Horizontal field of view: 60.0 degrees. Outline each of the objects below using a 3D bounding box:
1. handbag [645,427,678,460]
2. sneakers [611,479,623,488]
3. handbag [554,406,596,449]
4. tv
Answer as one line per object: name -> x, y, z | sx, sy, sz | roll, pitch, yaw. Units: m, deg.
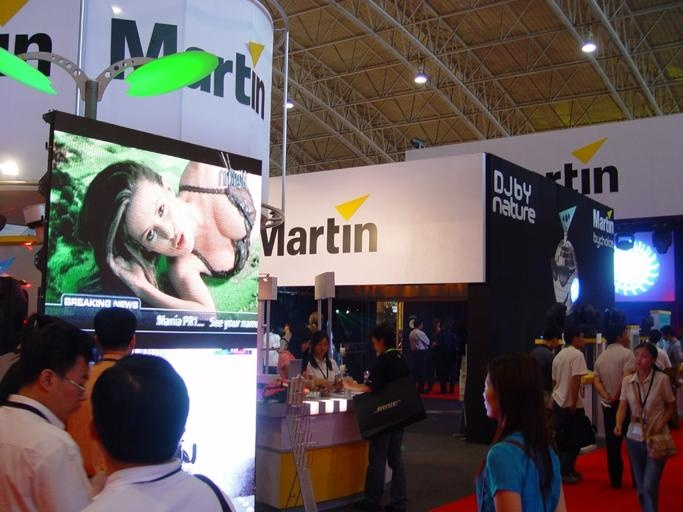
handbag -> 2.359, 1.387, 4.354 | 0.189, 0.224, 0.222 | -1, -5, 28
sneakers -> 2.777, 2.282, 5.914 | 0.192, 0.073, 0.076 | 5, -6, -38
handbag -> 2.355, 1.728, 5.974 | 0.374, 0.409, 0.199 | 0, -5, 16
tv -> -1.003, -0.211, 3.645 | 0.093, 1.689, 1.807 | 20, 28, 24
